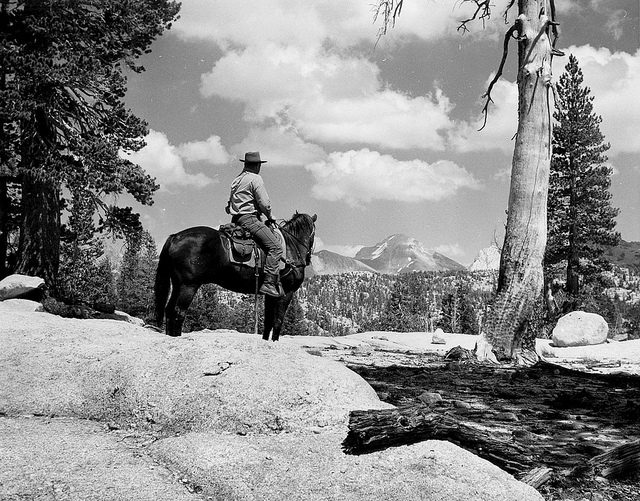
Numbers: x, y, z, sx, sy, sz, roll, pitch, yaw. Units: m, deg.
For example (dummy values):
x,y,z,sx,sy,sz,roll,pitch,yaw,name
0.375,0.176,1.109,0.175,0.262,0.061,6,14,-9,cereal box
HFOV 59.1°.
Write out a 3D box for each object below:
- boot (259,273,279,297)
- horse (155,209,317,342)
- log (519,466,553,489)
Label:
x,y,z,sx,sy,sz,roll,pitch,yaw,name
-0.967,0.651,10.915,0.210,0.434,0.522,5,-5,39,boot
-1.513,0.607,11.575,3.540,3.117,1.025,2,6,-26,horse
2.282,2.356,5.923,0.288,0.077,0.164,-31,22,-32,log
